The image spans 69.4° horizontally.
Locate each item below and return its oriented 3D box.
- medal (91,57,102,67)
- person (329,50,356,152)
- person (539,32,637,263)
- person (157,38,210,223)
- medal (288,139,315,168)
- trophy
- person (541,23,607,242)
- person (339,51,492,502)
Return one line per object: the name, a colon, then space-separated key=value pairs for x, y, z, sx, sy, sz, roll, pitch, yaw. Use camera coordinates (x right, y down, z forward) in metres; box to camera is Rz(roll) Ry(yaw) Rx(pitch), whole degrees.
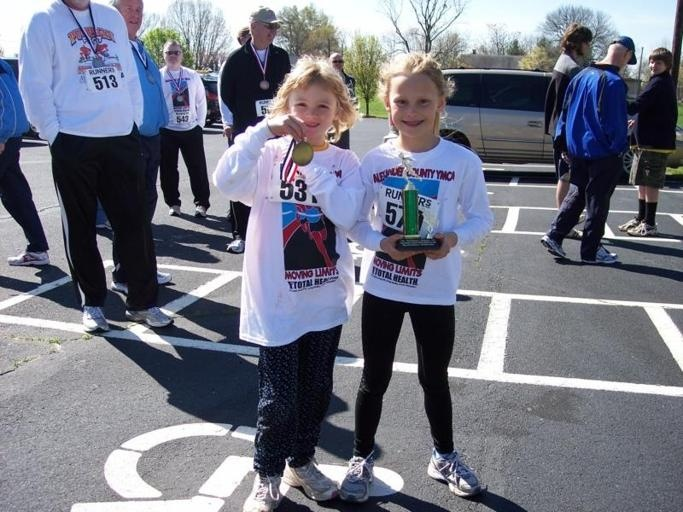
medal: x=-1.837 y=-1.455 z=3.692 sx=0.078 sy=0.086 sz=0.024 roll=-15 pitch=22 yaw=-38
person: x=0.027 y=-2.684 z=8.712 sx=0.345 sy=1.525 sz=0.420 roll=-5 pitch=4 yaw=-22
person: x=2.915 y=-1.063 z=5.728 sx=0.819 sy=2.229 sz=0.704 roll=10 pitch=20 yaw=31
person: x=-2.410 y=-1.939 z=7.412 sx=0.814 sy=2.926 sz=0.852 roll=18 pitch=24 yaw=36
medal: x=-0.181 y=-0.463 z=2.245 sx=0.075 sy=0.123 sz=0.099 roll=-16 pitch=24 yaw=-42
trophy: x=0.340 y=-0.270 z=2.352 sx=0.266 sy=0.465 sz=0.276 roll=-10 pitch=11 yaw=-39
person: x=2.802 y=-1.627 z=6.623 sx=0.821 sy=2.884 sz=0.851 roll=9 pitch=16 yaw=20
person: x=0.372 y=0.140 z=2.432 sx=0.675 sy=2.239 sz=0.674 roll=1 pitch=5 yaw=7
